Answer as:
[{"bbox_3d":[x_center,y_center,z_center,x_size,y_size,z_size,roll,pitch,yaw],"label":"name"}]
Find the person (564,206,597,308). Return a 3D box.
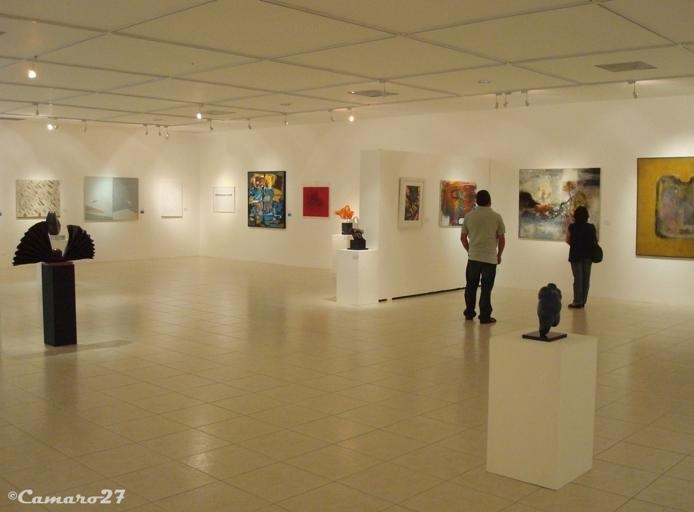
[{"bbox_3d":[4.799,0.033,10.827,0.592,2.064,0.387,1,6,12],"label":"person"}]

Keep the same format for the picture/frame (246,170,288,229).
[{"bbox_3d":[-2.654,-1.867,17.633,1.697,1.888,0.114,5,8,37],"label":"picture/frame"}]

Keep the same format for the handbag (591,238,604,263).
[{"bbox_3d":[5.133,-0.087,10.878,0.188,0.428,0.538,3,8,25],"label":"handbag"}]

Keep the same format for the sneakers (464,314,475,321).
[{"bbox_3d":[2.240,1.128,9.601,0.112,0.135,0.145,3,-9,-19],"label":"sneakers"}]

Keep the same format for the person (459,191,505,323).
[{"bbox_3d":[2.447,0.001,9.573,0.730,2.350,0.846,2,7,15],"label":"person"}]

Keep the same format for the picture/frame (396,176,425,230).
[{"bbox_3d":[1.361,-1.177,11.440,0.086,1.289,1.140,2,4,36],"label":"picture/frame"}]
